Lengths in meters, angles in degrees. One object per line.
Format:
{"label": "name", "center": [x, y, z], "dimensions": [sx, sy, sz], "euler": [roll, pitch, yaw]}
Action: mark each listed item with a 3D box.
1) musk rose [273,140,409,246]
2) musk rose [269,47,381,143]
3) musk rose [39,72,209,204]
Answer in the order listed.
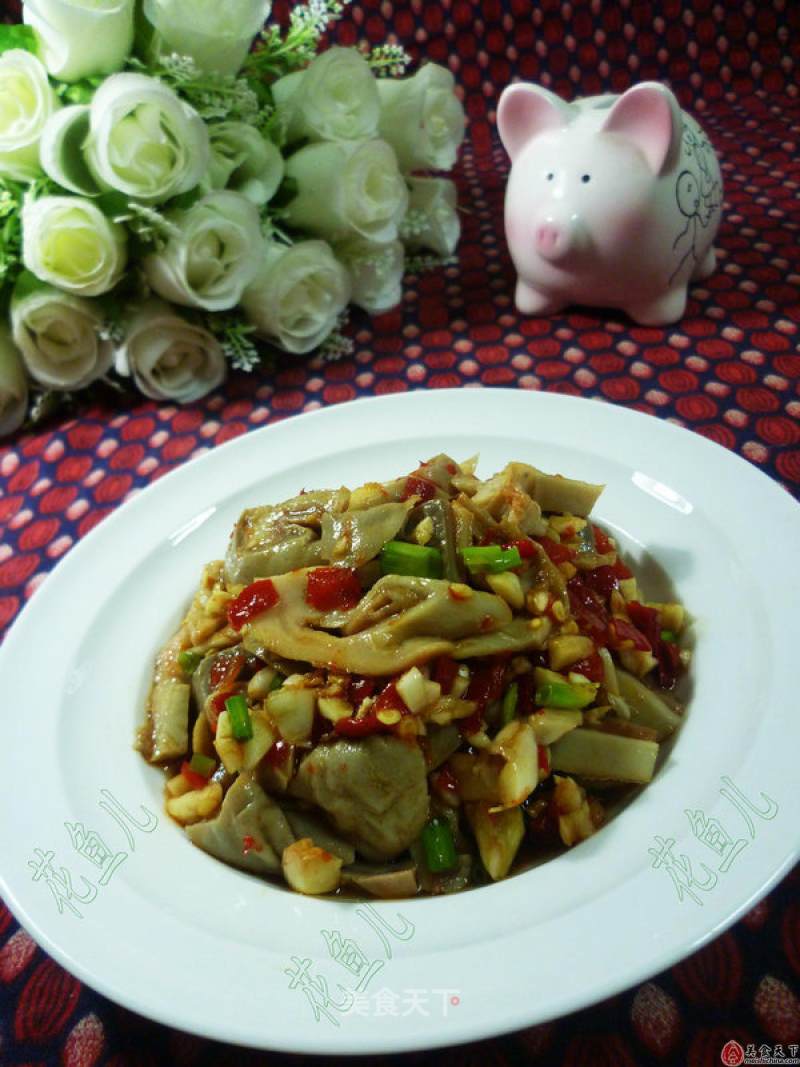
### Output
{"label": "musk rose", "center": [-0.165, -0.946, 2.643], "dimensions": [0.355, 0.157, 0.312], "euler": [1, 105, -4]}
{"label": "musk rose", "center": [-0.174, -1.205, 2.668], "dimensions": [0.289, 0.272, 0.262], "euler": [18, 36, 38]}
{"label": "musk rose", "center": [-0.658, -0.917, 2.260], "dimensions": [0.356, 0.306, 0.226], "euler": [11, 70, 6]}
